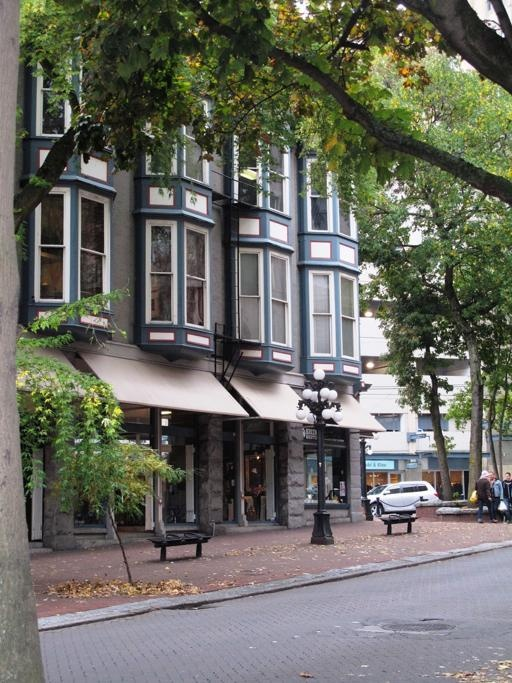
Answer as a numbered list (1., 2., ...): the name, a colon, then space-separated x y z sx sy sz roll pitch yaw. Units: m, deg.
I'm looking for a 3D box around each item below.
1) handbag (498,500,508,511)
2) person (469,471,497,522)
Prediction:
1. handbag: 7.745 5.148 29.898 0.284 0.356 0.684 -5 -7 15
2. person: 7.319 4.949 30.542 0.607 1.536 2.873 -4 -7 12
